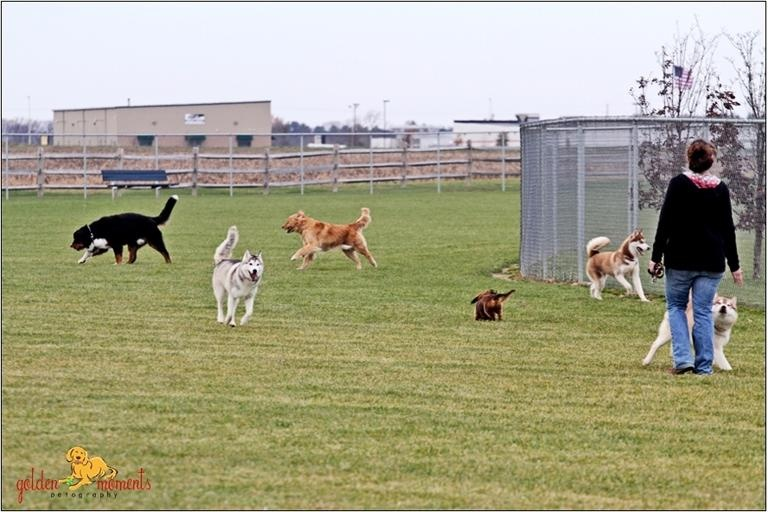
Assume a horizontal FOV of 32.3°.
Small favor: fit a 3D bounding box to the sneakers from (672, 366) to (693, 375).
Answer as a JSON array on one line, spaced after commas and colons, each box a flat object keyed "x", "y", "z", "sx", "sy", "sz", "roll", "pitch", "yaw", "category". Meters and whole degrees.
[{"x": 3.752, "y": 1.445, "z": 16.577, "sx": 0.284, "sy": 0.117, "sz": 0.093, "roll": 1, "pitch": -3, "yaw": 18, "category": "sneakers"}]

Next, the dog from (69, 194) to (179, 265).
[{"x": -4.445, "y": -0.448, "z": 22.568, "sx": 1.684, "sy": 1.187, "sz": 0.626, "roll": -2, "pitch": 12, "yaw": -14, "category": "dog"}]

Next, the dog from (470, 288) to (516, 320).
[{"x": 1.540, "y": 0.688, "z": 19.040, "sx": 0.506, "sy": 0.403, "sz": 0.461, "roll": 1, "pitch": 11, "yaw": 1, "category": "dog"}]

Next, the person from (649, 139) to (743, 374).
[{"x": 3.889, "y": 0.017, "z": 16.518, "sx": 1.033, "sy": 2.928, "sz": 0.526, "roll": 3, "pitch": 12, "yaw": 12, "category": "person"}]

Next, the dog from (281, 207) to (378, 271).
[{"x": -0.920, "y": -0.318, "z": 22.491, "sx": 1.662, "sy": 1.018, "sz": 0.453, "roll": 2, "pitch": -3, "yaw": -23, "category": "dog"}]

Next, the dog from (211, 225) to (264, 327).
[{"x": -2.076, "y": 0.320, "z": 18.704, "sx": 0.643, "sy": 1.327, "sz": 1.581, "roll": -1, "pitch": 11, "yaw": -8, "category": "dog"}]

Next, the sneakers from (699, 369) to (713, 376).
[{"x": 4.021, "y": 1.470, "z": 16.531, "sx": 0.185, "sy": 0.078, "sz": 0.060, "roll": -6, "pitch": 28, "yaw": 1, "category": "sneakers"}]

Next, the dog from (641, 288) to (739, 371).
[{"x": 4.221, "y": 0.939, "z": 17.072, "sx": 0.421, "sy": 0.764, "sz": 1.256, "roll": 19, "pitch": -18, "yaw": 2, "category": "dog"}]
